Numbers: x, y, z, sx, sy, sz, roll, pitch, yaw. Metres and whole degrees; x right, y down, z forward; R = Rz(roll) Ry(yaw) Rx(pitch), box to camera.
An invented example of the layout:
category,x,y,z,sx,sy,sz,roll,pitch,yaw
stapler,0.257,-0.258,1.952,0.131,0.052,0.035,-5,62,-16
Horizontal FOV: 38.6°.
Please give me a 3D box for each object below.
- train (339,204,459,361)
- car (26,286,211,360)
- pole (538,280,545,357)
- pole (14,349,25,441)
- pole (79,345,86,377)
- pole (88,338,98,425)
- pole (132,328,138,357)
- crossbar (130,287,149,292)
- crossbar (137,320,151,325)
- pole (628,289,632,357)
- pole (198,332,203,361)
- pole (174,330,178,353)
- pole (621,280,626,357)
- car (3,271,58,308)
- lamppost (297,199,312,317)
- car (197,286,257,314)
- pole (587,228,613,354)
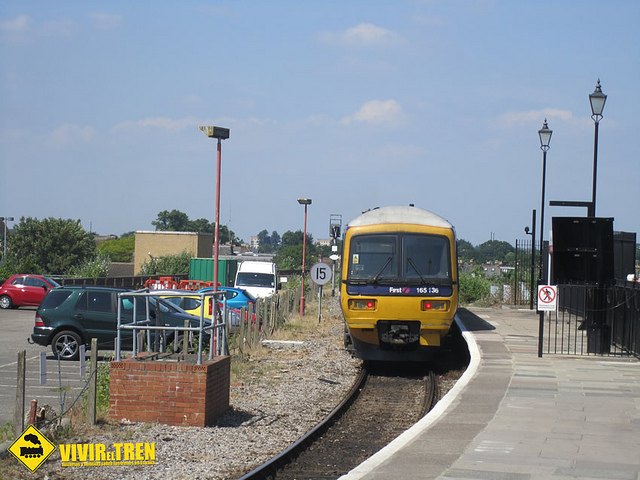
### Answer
category,x,y,z,sx,sy,sz,roll,pitch,yaw
train,3.203,1.107,23.170,2.421,4.264,6.618,0,-2,5
car,-5.681,2.522,23.687,4.735,2.133,2.359,-2,-1,-1
pole,5.580,2.351,23.145,0.142,1.352,0.583,0,0,13
pole,-5.149,2.632,15.626,0.160,1.606,0.502,0,0,-19
pole,-4.589,2.331,17.612,0.056,0.610,0.670,0,0,-12
pole,-4.271,2.646,17.054,0.147,1.610,0.368,0,0,-15
pole,-3.588,1.982,17.647,0.096,0.558,0.339,0,0,-12
crossbar,-3.554,0.983,18.017,0.291,0.079,0.936,0,0,-10
crossbar,-3.541,1.647,18.227,0.230,0.099,0.760,0,0,-12
pole,8.045,2.133,23.759,0.099,1.328,0.514,0,0,18
pole,-2.274,2.005,17.217,0.073,0.513,0.412,0,0,-9
pole,-3.086,2.309,19.306,0.062,0.120,0.379,0,0,-20
pole,7.997,2.044,24.125,0.118,1.538,0.777,0,0,18
car,-12.031,2.045,37.544,2.383,1.399,1.493,-2,3,4
lamppost,-0.708,0.446,39.237,0.568,4.633,0.721,2,2,10
car,-2.916,2.082,28.947,1.812,0.996,1.204,3,1,2
pole,7.332,1.339,23.951,0.433,3.213,0.759,-1,2,6
